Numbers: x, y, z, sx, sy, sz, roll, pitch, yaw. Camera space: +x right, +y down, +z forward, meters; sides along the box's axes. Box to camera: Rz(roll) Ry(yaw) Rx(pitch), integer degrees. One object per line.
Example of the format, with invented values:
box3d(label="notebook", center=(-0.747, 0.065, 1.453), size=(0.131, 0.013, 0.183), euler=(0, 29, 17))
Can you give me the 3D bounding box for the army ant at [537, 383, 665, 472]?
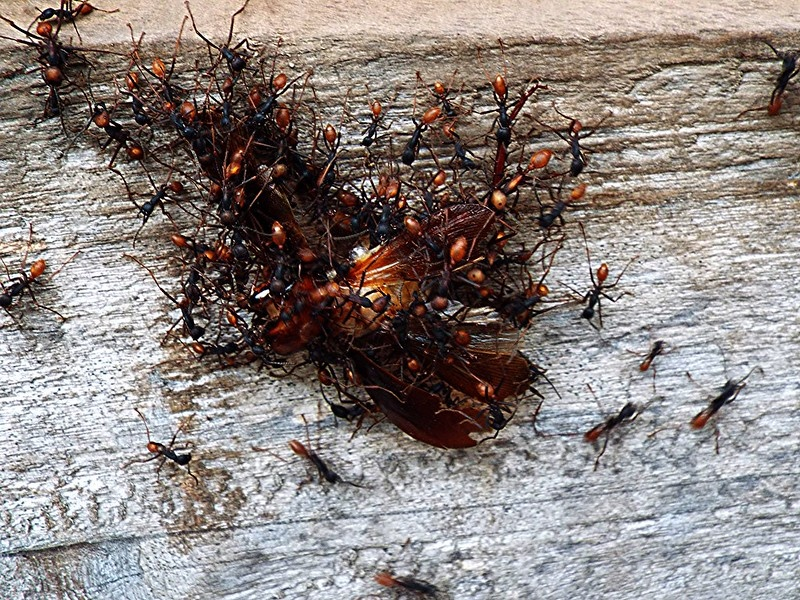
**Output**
box3d(label="army ant", center=(0.749, 0.477, 3.516), size=(0.352, 0.221, 0.089), euler=(-27, 19, 3))
